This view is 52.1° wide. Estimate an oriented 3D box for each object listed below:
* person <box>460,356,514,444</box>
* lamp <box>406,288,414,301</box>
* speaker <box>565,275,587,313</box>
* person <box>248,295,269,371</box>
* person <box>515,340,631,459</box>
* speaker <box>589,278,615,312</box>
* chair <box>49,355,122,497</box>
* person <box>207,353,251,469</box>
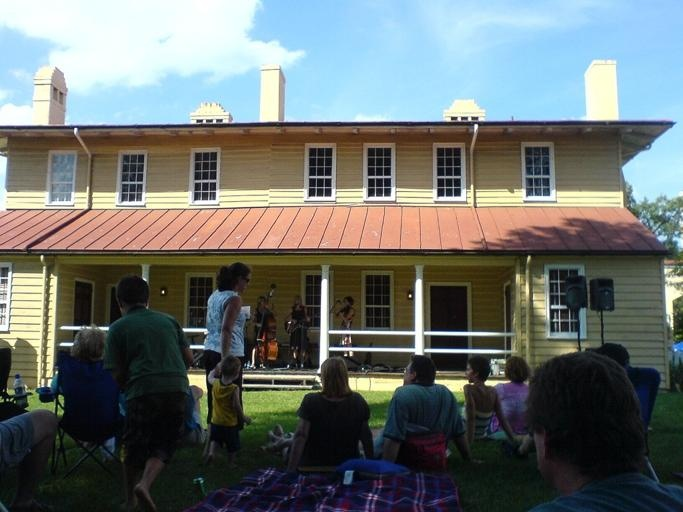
[{"bbox_3d":[2.109,2.237,10.920,0.678,1.248,1.926,-1,-10,-2],"label":"person"},{"bbox_3d":[2.050,1.167,20.805,0.262,0.517,0.275,-2,-5,11],"label":"lamp"},{"bbox_3d":[4.771,0.759,14.277,0.397,0.711,0.351,-6,-18,25],"label":"speaker"},{"bbox_3d":[-2.194,2.085,19.324,0.814,1.764,0.551,-5,-8,29],"label":"person"},{"bbox_3d":[1.977,1.226,5.929,0.669,0.911,0.850,0,-21,-2],"label":"person"},{"bbox_3d":[5.286,0.778,14.218,0.412,0.699,0.591,-5,-9,25],"label":"speaker"},{"bbox_3d":[-3.392,2.213,9.590,1.282,1.572,1.225,4,-10,-39],"label":"chair"},{"bbox_3d":[-1.584,2.132,9.730,0.578,1.488,0.434,-8,-10,41],"label":"person"}]
